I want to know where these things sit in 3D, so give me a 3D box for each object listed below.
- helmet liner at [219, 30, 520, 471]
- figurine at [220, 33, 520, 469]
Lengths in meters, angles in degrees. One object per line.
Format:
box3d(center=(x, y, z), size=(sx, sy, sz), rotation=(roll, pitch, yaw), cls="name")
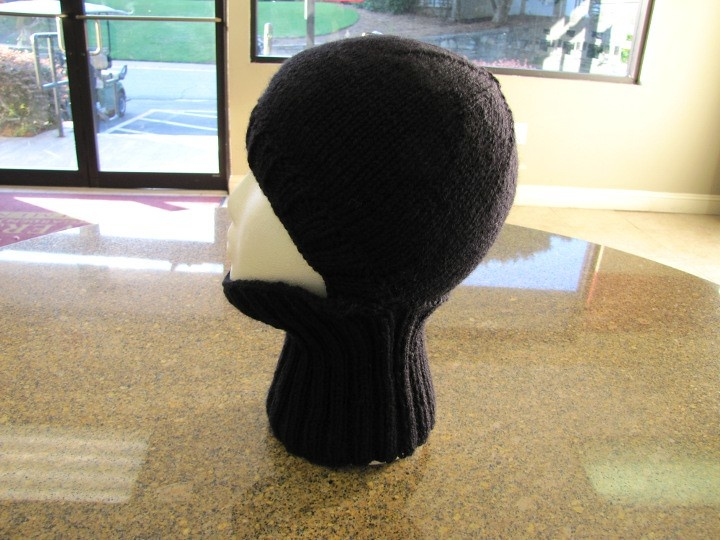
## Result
box3d(center=(0.016, 0.002, 0.867), size=(0.426, 0.474, 0.371), rotation=(-1, 2, -27), cls="helmet liner")
box3d(center=(-0.003, -0.010, 0.747), size=(0.332, 0.527, 0.231), rotation=(8, 29, 10), cls="figurine")
